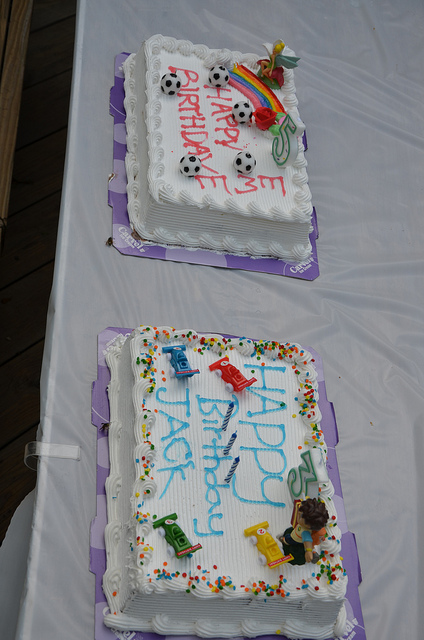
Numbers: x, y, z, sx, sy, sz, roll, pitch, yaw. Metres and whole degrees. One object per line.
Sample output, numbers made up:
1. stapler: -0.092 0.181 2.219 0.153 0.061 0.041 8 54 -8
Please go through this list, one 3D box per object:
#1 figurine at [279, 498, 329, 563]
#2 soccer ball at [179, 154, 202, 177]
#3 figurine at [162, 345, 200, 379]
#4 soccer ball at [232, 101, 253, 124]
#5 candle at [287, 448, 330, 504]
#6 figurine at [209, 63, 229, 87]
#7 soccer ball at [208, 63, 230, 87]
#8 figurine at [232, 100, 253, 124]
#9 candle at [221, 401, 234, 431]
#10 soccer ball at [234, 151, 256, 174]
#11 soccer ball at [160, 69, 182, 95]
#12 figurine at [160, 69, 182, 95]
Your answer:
1. figurine: 0.553 1.200 4.406 0.223 0.300 0.281 34 68 18
2. soccer ball: -0.169 -1.221 5.942 0.172 0.185 0.236 -1 62 1
3. figurine: -0.208 0.267 4.939 0.154 0.122 0.233 -4 59 -29
4. soccer ball: 0.240 -1.727 6.407 0.160 0.180 0.153 2 70 -6
5. candle: 0.573 0.950 4.649 0.222 0.302 0.270 2 62 3
6. figurine: 0.053 -2.100 6.616 0.172 0.195 0.166 24 76 5
7. soccer ball: 0.050 -2.091 6.629 0.173 0.193 0.165 2 56 -3
8. figurine: 0.247 -1.729 6.412 0.161 0.181 0.156 15 46 10
9. candle: 0.097 0.618 4.852 0.051 0.050 0.238 17 59 6
10. soccer ball: 0.256 -1.240 6.090 0.160 0.186 0.146 -2 62 1
11. soccer ball: -0.338 -1.935 6.270 0.171 0.194 0.162 4 64 -9
12. figurine: -0.345 -1.934 6.345 0.173 0.196 0.164 34 77 1
